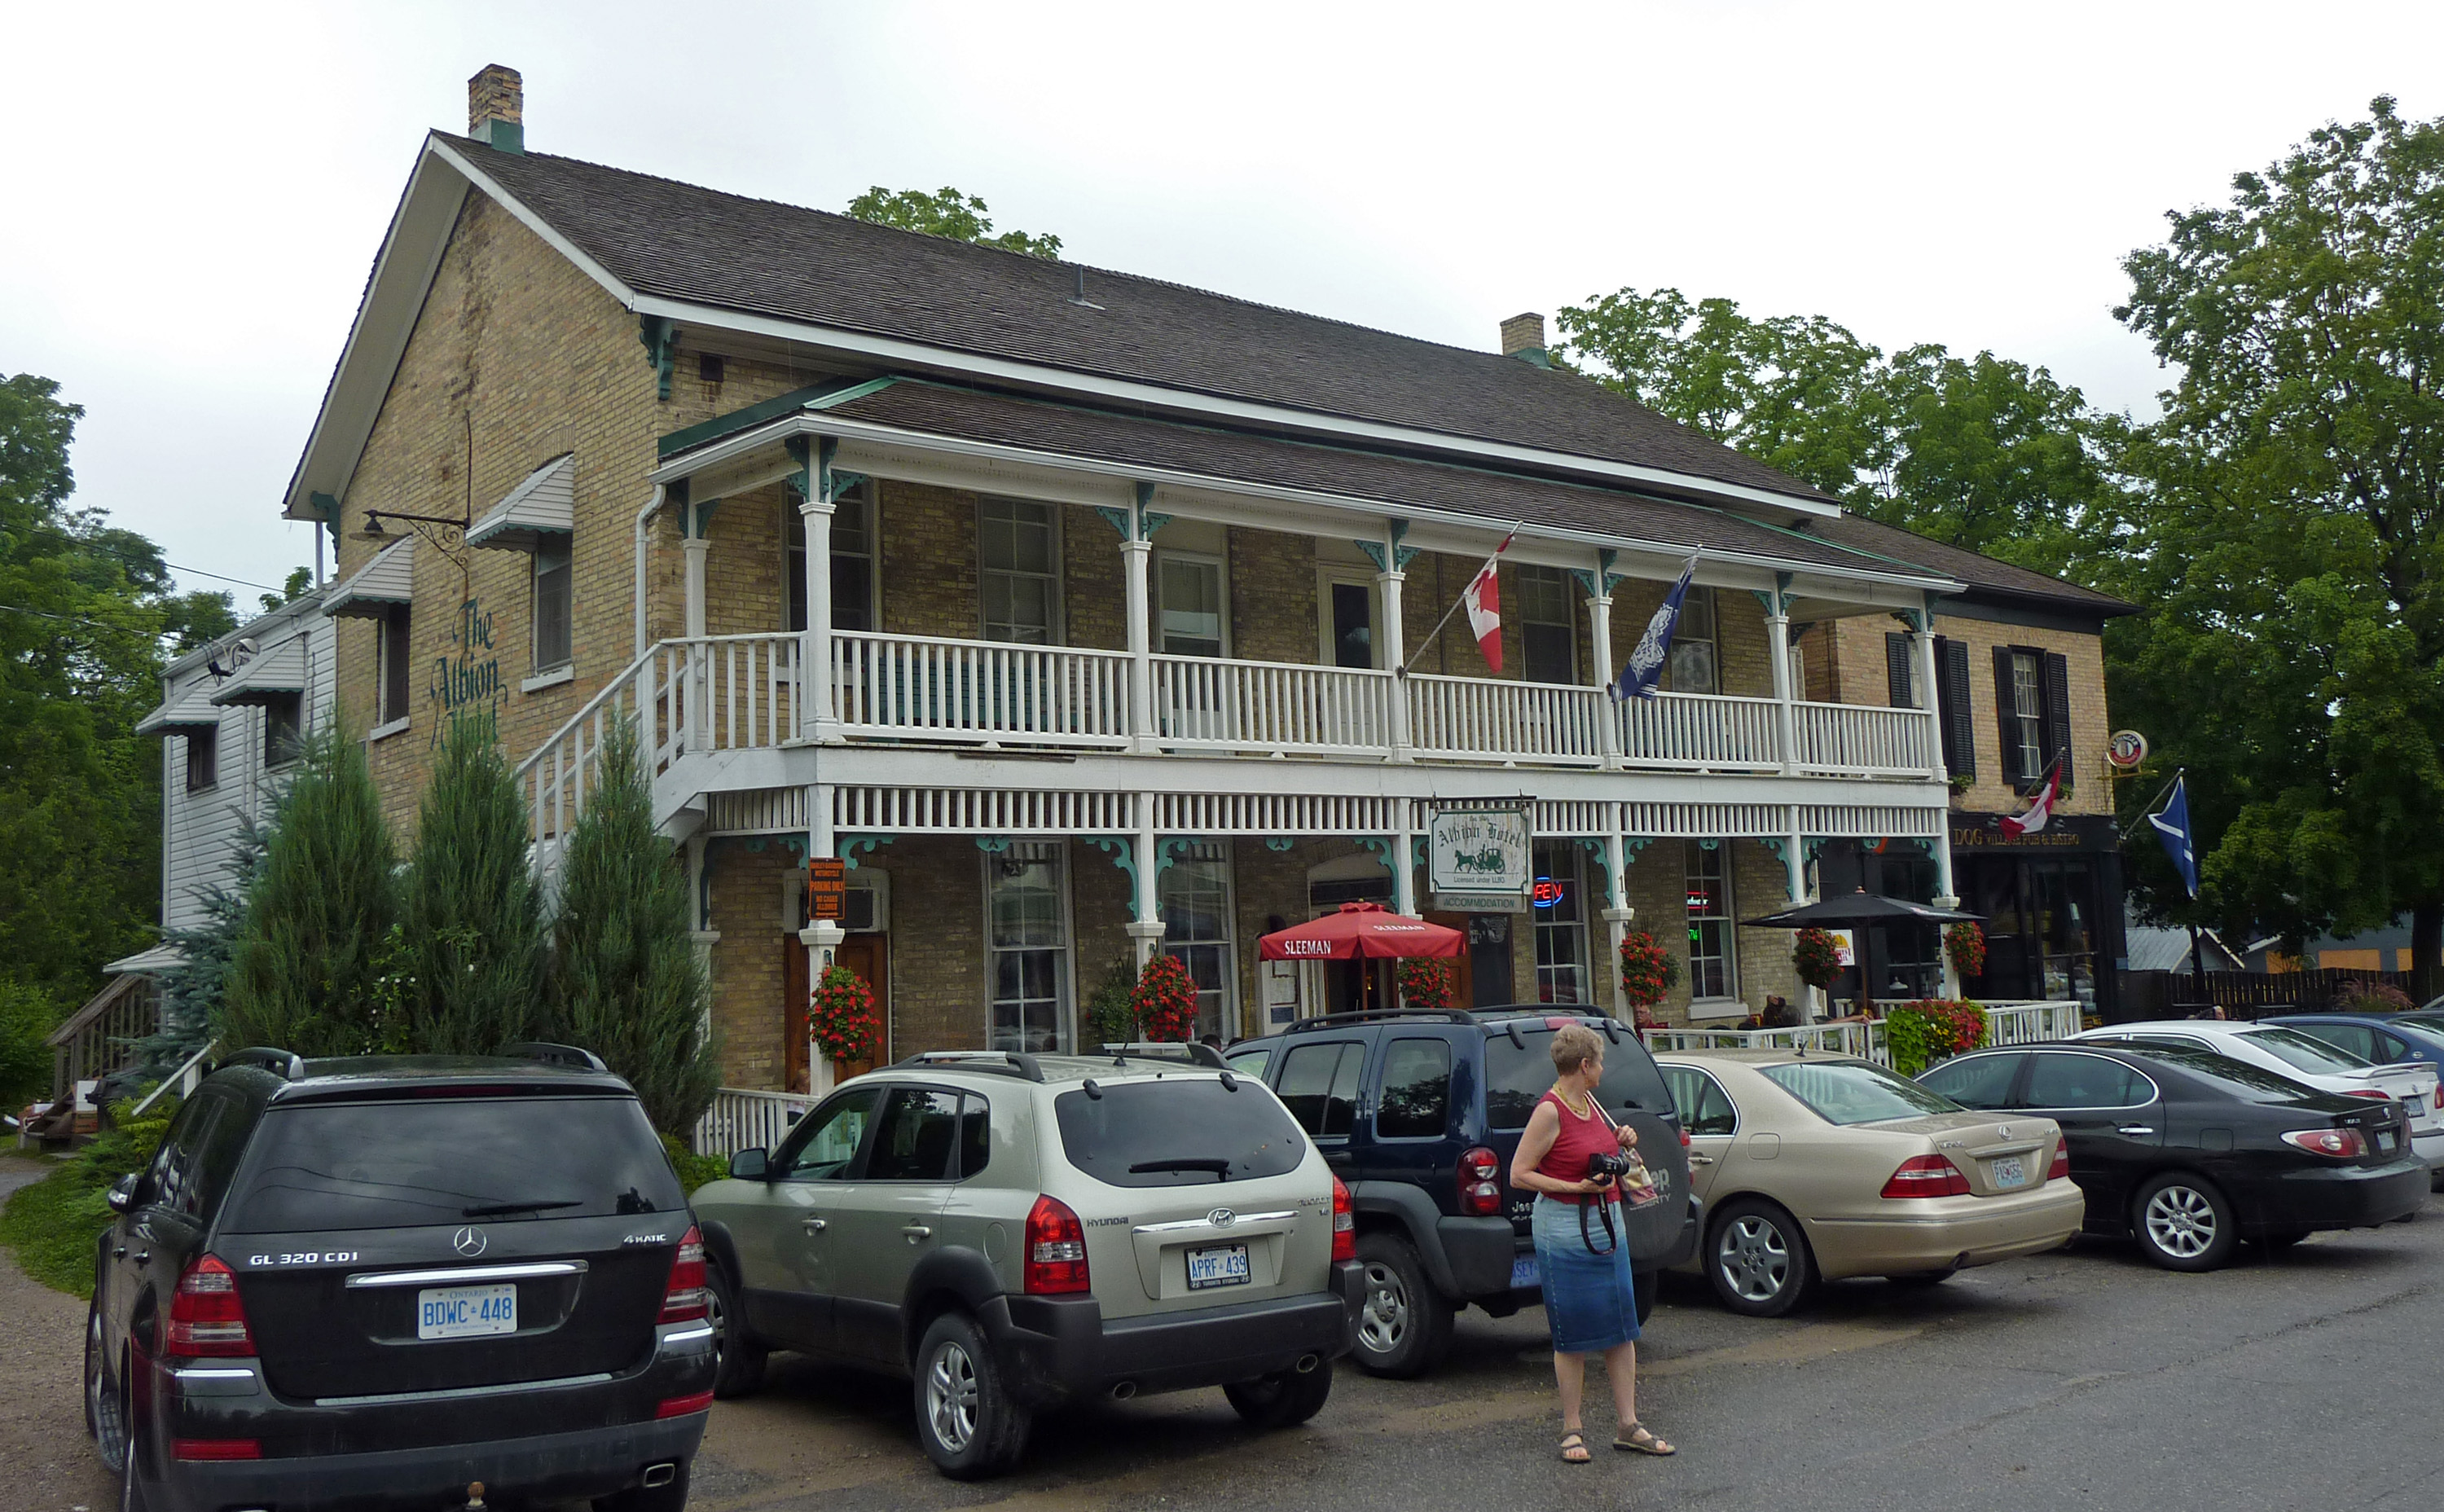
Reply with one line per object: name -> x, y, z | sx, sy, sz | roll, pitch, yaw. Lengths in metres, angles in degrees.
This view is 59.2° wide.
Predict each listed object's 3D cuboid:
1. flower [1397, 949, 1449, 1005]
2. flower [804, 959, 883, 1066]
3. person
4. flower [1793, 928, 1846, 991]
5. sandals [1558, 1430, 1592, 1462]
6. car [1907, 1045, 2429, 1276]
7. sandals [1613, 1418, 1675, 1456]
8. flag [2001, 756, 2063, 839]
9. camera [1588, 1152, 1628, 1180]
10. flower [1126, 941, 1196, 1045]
flower -> 2.445, 2.669, 25.407 | 0.741, 0.758, 0.631 | 2, -11, -13
flower -> -4.089, 2.748, 22.124 | 0.884, 0.986, 0.877 | -4, -16, 4
person -> 2.697, 3.581, 15.924 | 1.002, 3.036, 1.299 | 0, 8, 9
flower -> 8.123, 2.772, 29.266 | 0.728, 0.835, 0.748 | 1, -9, -7
sandals -> 2.560, 5.003, 15.641 | 0.228, 0.190, 0.326 | 0, 7, 8
car -> 8.698, 3.595, 20.927 | 5.008, 1.652, 2.170 | -1, -3, 44
sandals -> 3.133, 4.991, 15.747 | 0.534, 0.238, 0.177 | -2, 0, 22
flag -> 13.112, 0.829, 34.845 | 0.802, 1.472, 4.384 | 2, 8, 23
camera -> 2.843, 3.028, 15.835 | 0.200, 0.116, 0.183 | -1, -1, -2
flower -> -0.651, 2.705, 23.800 | 0.584, 0.930, 0.576 | -2, 7, -7
